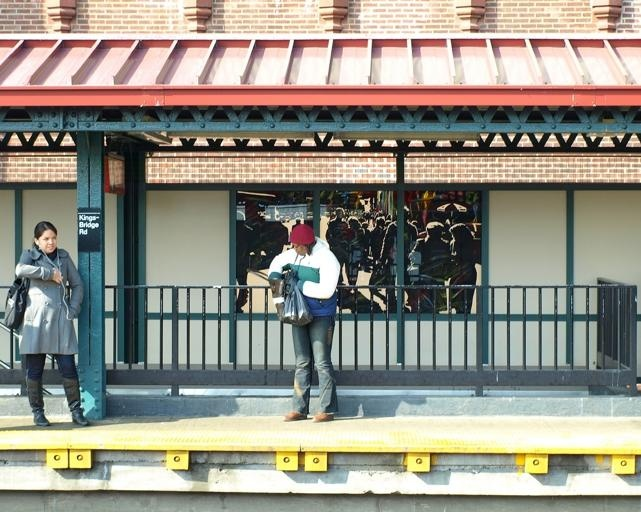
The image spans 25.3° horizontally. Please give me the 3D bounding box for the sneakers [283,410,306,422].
[{"bbox_3d":[-0.277,1.873,16.642,0.226,0.100,0.104,5,-5,-9],"label":"sneakers"}]

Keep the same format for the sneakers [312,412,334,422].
[{"bbox_3d":[0.051,1.877,16.581,0.244,0.103,0.090,2,0,-15],"label":"sneakers"}]

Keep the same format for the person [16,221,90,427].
[{"bbox_3d":[-3.069,0.797,16.415,0.802,2.331,0.444,1,-3,-12],"label":"person"}]

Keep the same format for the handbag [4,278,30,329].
[{"bbox_3d":[-3.453,0.575,16.364,0.265,0.728,0.584,6,-9,-10],"label":"handbag"}]

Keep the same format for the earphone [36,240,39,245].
[{"bbox_3d":[-3.238,-0.144,16.400,0.035,0.049,0.045,-1,42,-5],"label":"earphone"}]

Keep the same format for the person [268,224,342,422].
[{"bbox_3d":[-0.163,0.788,16.531,0.749,2.259,0.423,0,-2,-2],"label":"person"}]

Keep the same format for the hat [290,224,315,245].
[{"bbox_3d":[-0.190,-0.227,16.494,0.281,0.244,0.192,0,-2,3],"label":"hat"}]
